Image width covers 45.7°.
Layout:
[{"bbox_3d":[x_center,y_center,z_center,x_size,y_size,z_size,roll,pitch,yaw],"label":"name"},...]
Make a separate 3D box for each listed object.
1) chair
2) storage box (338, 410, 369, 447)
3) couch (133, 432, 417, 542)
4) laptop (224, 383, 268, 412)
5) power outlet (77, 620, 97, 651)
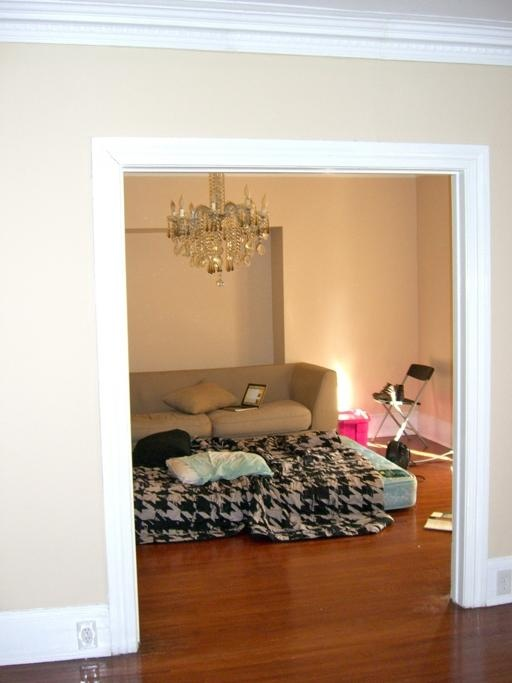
[{"bbox_3d":[1.433,0.602,5.946,0.604,0.750,0.976,0,4,15],"label":"chair"},{"bbox_3d":[0.924,0.824,5.800,0.270,0.228,0.318,1,12,2],"label":"storage box"},{"bbox_3d":[0.095,0.947,4.033,1.802,0.338,1.282,-2,3,-14],"label":"couch"},{"bbox_3d":[-0.052,0.506,5.603,0.252,0.160,0.256,-2,5,-32],"label":"laptop"},{"bbox_3d":[-0.648,1.123,2.333,0.075,0.117,0.011,-2,4,-13],"label":"power outlet"}]
